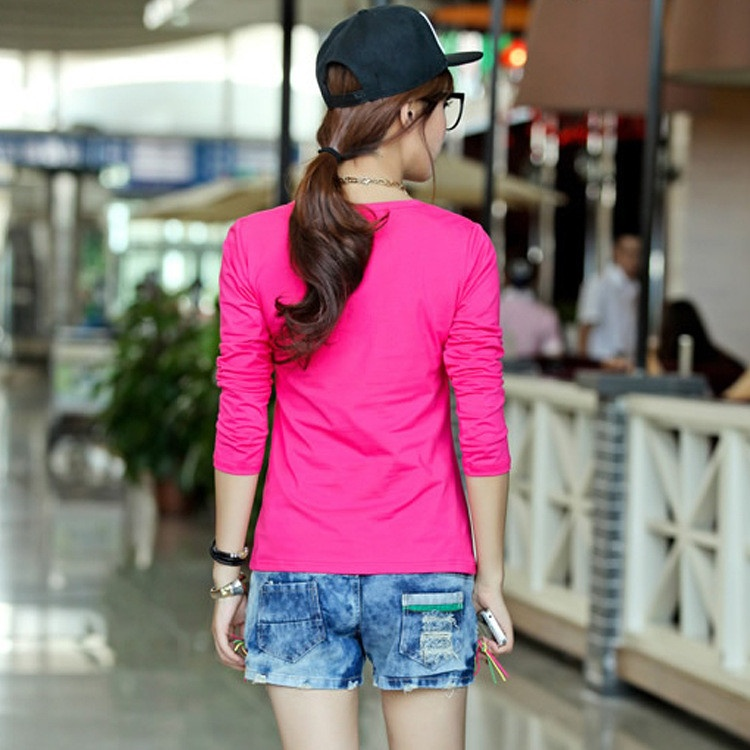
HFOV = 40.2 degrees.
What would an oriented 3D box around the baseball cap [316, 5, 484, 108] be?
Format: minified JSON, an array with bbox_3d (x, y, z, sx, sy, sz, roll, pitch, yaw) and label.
[{"bbox_3d":[0.031,-0.491,1.559,0.198,0.103,0.127,-23,17,-18],"label":"baseball cap"}]

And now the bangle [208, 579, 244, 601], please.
[{"bbox_3d":[-0.235,0.340,1.611,0.039,0.025,0.036,-22,-10,28],"label":"bangle"}]

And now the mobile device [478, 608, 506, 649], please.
[{"bbox_3d":[0.182,0.382,1.574,0.012,0.049,0.048,-28,4,-17],"label":"mobile device"}]

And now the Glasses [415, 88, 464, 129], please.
[{"bbox_3d":[0.105,-0.421,1.601,0.065,0.073,0.021,2,1,26],"label":"Glasses"}]
